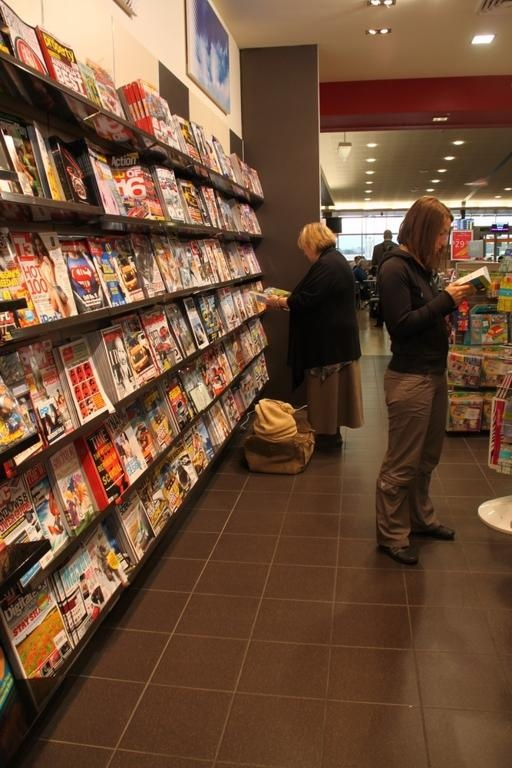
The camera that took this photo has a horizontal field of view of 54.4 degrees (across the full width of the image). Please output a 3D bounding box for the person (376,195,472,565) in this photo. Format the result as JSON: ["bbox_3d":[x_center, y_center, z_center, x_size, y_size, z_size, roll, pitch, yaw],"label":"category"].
[{"bbox_3d":[0.737,0.004,2.274,0.391,1.642,0.493,-1,6,14],"label":"person"}]

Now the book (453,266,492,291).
[{"bbox_3d":[0.871,-0.430,2.020,0.129,0.083,0.257,0,7,22],"label":"book"}]

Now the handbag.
[{"bbox_3d":[0.189,0.380,3.868,0.384,0.296,0.657,2,8,5],"label":"handbag"}]

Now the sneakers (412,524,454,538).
[{"bbox_3d":[0.906,0.760,2.549,0.193,0.082,0.073,0,6,15],"label":"sneakers"}]

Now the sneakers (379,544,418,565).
[{"bbox_3d":[0.670,0.788,2.346,0.166,0.060,0.061,6,16,44],"label":"sneakers"}]
